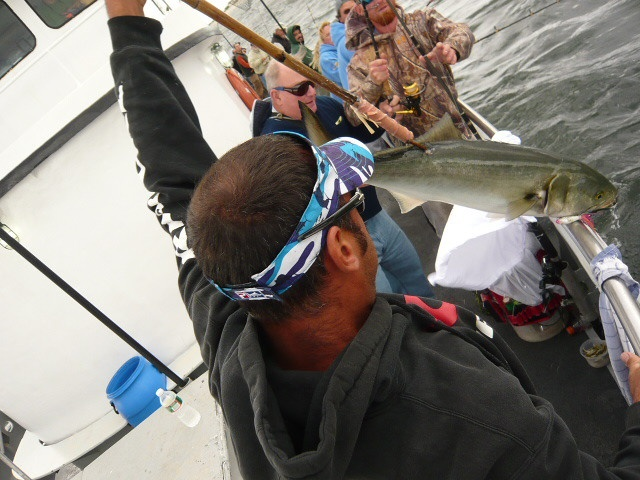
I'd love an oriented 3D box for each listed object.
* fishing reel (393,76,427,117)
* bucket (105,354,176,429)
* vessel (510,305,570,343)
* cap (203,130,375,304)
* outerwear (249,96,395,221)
[{"bbox_3d":[0.652,-1.012,3.699,0.173,0.157,0.268,-26,24,-10],"label":"fishing reel"},{"bbox_3d":[-1.242,1.040,3.535,0.303,0.458,0.316,-38,3,2],"label":"bucket"},{"bbox_3d":[1.559,0.570,3.517,0.333,0.139,0.370,-17,10,35],"label":"vessel"},{"bbox_3d":[-0.143,-0.185,2.176,0.633,0.208,0.895,30,78,43],"label":"cap"},{"bbox_3d":[0.124,-0.779,3.758,0.451,1.153,0.740,-14,50,62],"label":"outerwear"}]
